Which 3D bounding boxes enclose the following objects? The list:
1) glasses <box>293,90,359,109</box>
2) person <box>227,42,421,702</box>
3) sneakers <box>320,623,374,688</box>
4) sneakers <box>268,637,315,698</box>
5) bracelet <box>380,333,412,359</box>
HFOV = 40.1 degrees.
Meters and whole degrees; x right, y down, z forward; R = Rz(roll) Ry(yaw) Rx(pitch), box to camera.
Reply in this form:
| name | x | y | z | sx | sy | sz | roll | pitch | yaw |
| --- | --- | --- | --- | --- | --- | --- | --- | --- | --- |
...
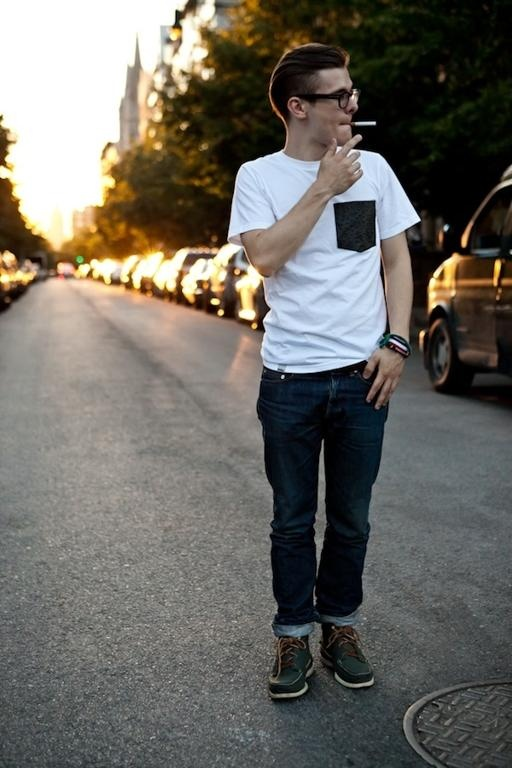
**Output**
| name | x | y | z | sx | sy | sz | roll | pitch | yaw |
| --- | --- | --- | --- | --- | --- | --- | --- | --- | --- |
| glasses | 0.210 | -0.798 | 1.972 | 0.098 | 0.027 | 0.090 | -2 | 7 | -2 |
| person | 0.213 | -0.062 | 2.098 | 0.571 | 1.982 | 0.488 | -2 | 3 | -5 |
| sneakers | 0.275 | 0.848 | 2.188 | 0.084 | 0.095 | 0.222 | -4 | 1 | -12 |
| sneakers | 0.103 | 0.845 | 2.070 | 0.075 | 0.090 | 0.205 | -4 | -3 | 10 |
| bracelet | 0.409 | -0.099 | 2.034 | 0.066 | 0.043 | 0.085 | 36 | 4 | 22 |
